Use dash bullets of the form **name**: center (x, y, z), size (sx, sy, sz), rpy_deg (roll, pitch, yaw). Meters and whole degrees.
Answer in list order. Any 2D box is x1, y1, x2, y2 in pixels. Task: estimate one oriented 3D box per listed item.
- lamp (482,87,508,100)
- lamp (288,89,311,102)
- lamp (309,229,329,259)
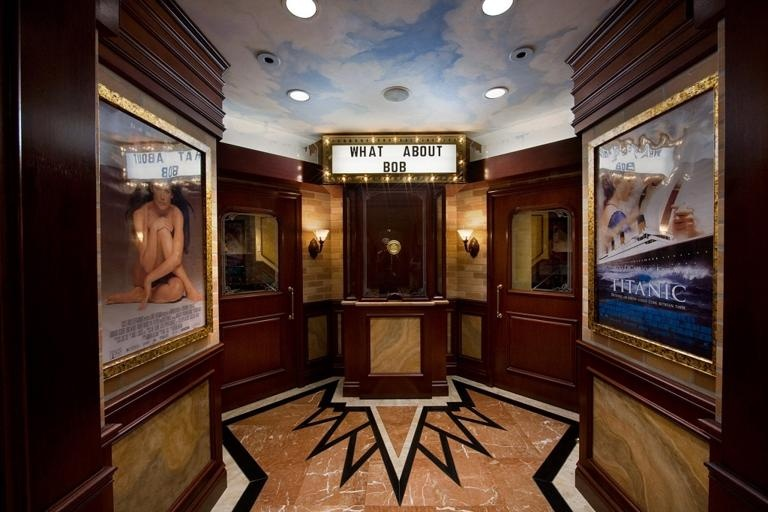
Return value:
- **lamp**: center (1.106, -1.588, 4.665), size (0.228, 0.057, 0.248), rpy_deg (-1, 2, -22)
- **lamp**: center (-0.841, -1.566, 4.666), size (0.218, 0.050, 0.244), rpy_deg (-1, 2, -5)
- **lamp**: center (-0.784, -0.143, 5.947), size (0.168, 0.369, 0.344), rpy_deg (0, 2, 27)
